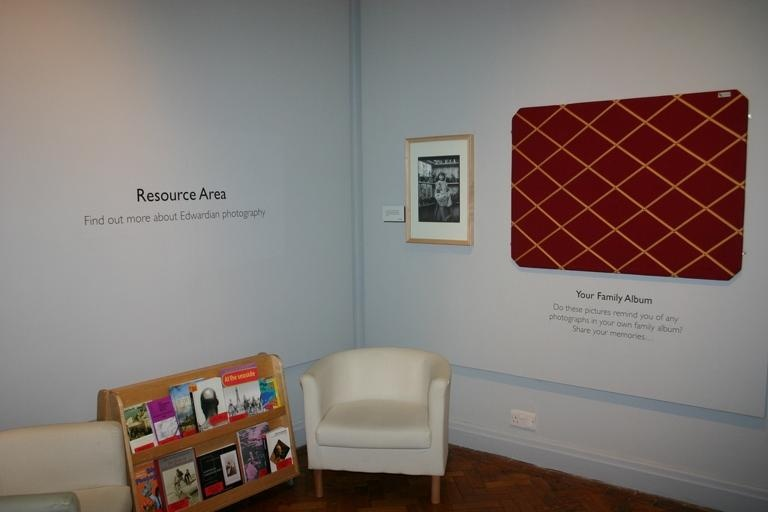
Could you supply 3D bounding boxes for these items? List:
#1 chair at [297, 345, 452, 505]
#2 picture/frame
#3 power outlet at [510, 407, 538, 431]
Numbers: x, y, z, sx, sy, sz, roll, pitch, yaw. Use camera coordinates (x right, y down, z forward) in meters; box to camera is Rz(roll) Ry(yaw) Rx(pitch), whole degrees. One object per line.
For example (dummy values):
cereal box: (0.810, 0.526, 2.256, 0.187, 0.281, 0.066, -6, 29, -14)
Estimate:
chair: (-0.026, 1.282, 4.439, 1.303, 1.179, 1.069, -1, -4, 9)
picture/frame: (0.499, -0.610, 4.641, 0.643, 0.953, 0.268, 3, 14, 16)
power outlet: (1.227, 1.419, 4.452, 0.225, 0.170, 0.039, 0, 1, 33)
